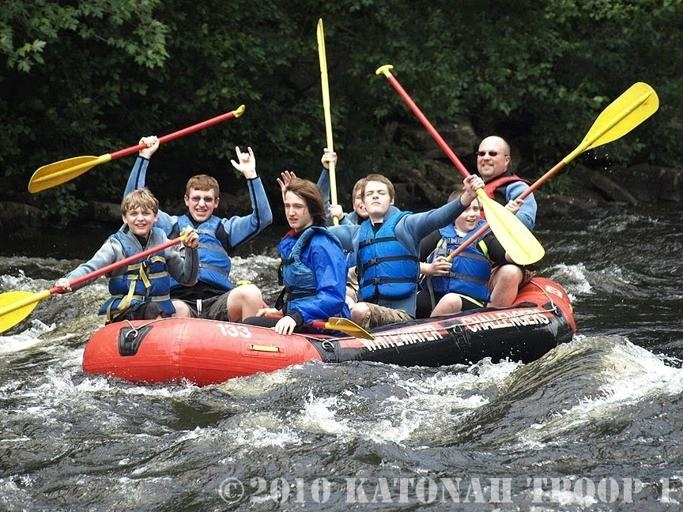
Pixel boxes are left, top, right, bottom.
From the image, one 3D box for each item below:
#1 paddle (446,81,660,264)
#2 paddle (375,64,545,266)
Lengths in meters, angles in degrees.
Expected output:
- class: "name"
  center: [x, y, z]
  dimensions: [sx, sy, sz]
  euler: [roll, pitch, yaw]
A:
- class: "paddle"
  center: [2.269, -0.944, 9.379]
  dimensions: [0.224, 0.396, 2.815]
  euler: [-26, -8, -20]
- class: "paddle"
  center: [1.424, -1.324, 12.211]
  dimensions: [0.604, 0.308, 4.527]
  euler: [-21, 46, -11]
